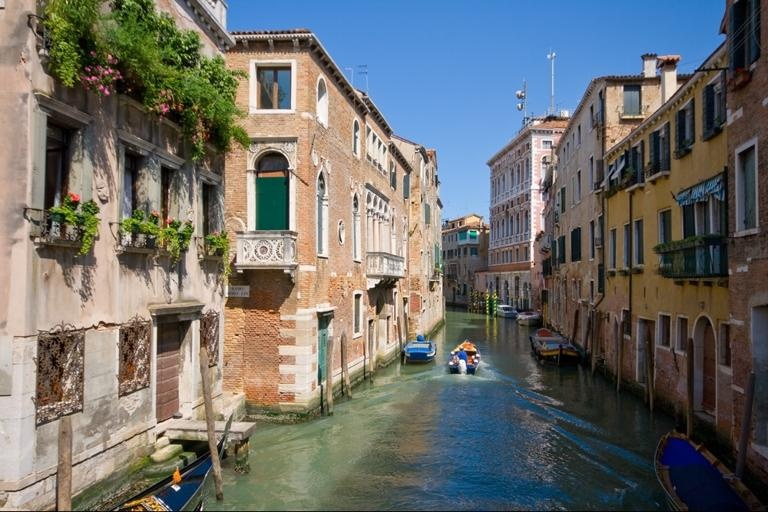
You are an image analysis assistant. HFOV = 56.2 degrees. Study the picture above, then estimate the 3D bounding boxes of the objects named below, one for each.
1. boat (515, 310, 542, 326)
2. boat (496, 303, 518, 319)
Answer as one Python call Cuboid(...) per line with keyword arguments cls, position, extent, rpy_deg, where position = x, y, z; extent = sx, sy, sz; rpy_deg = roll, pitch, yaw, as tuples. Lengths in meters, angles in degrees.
Cuboid(cls="boat", position=(11.444, 5.034, 56.155), extent=(1.475, 0.993, 2.439), rpy_deg=(1, 7, -1))
Cuboid(cls="boat", position=(11.191, 5.002, 65.156), extent=(1.103, 1.030, 3.928), rpy_deg=(0, 3, 2))
